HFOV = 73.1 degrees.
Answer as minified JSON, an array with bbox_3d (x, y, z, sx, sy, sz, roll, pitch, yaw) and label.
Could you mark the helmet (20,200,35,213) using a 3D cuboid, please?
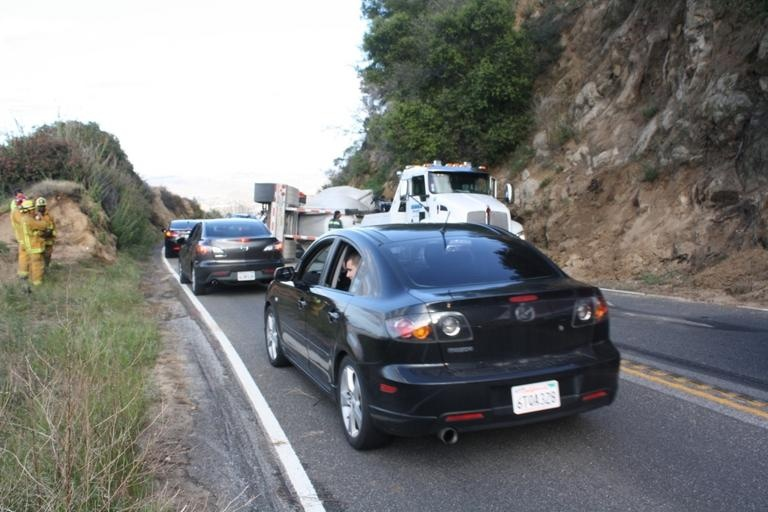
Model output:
[{"bbox_3d":[-8.214,-1.105,11.943,0.292,0.211,0.406,-4,27,-25],"label":"helmet"}]
